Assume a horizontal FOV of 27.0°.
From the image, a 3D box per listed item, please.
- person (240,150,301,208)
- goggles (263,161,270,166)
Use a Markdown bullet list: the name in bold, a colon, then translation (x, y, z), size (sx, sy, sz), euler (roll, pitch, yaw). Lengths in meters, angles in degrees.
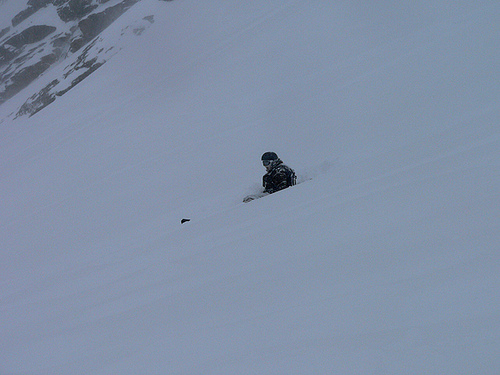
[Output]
- **person**: translation (0.226, -0.140, 13.780), size (0.759, 0.717, 0.502), euler (-15, 17, -27)
- **goggles**: translation (0.211, -0.327, 13.781), size (0.047, 0.060, 0.063), euler (6, 34, 40)
